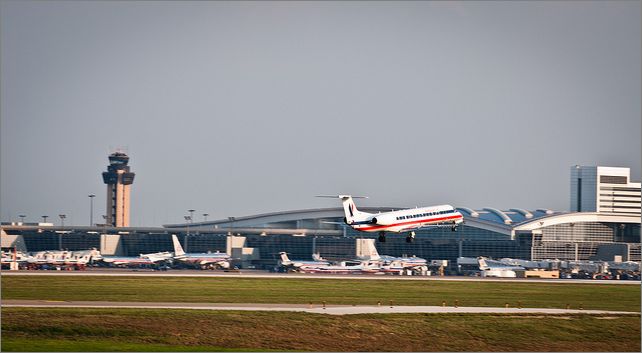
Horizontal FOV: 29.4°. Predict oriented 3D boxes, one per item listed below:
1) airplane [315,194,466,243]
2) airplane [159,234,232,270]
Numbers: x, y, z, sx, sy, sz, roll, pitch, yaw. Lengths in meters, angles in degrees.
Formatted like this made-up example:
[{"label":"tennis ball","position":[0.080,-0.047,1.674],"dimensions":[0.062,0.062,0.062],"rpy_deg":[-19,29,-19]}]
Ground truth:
[{"label":"airplane","position":[17.279,8.587,271.253],"dimensions":[41.312,9.021,35.995],"rpy_deg":[-3,0,43]},{"label":"airplane","position":[-33.929,21.362,326.302],"dimensions":[11.089,6.934,16.536],"rpy_deg":[4,-8,-38]}]
